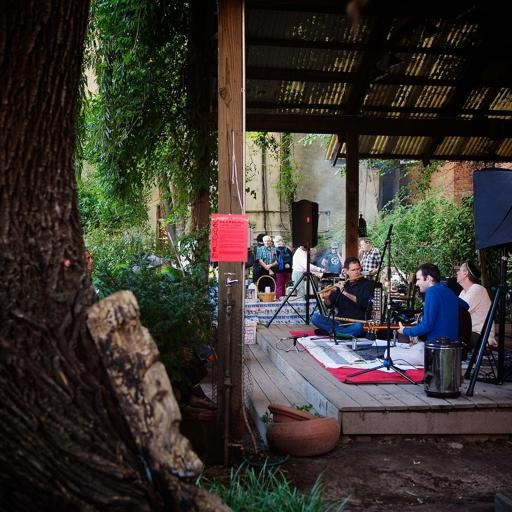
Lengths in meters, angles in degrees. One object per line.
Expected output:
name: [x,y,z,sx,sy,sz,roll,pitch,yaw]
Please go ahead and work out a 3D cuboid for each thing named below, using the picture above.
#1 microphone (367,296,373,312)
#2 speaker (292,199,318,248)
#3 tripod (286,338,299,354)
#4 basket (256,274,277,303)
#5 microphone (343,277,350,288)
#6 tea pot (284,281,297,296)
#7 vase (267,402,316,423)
microphone: [1.652,0.671,7.385,0.037,0.183,0.123,10,8,22]
speaker: [0.918,-0.600,9.184,0.378,0.847,0.847,1,4,-9]
tripod: [0.508,1.203,6.998,0.132,0.192,0.134,1,-8,-1]
basket: [0.221,0.678,11.024,0.421,0.623,0.428,1,4,-4]
microphone: [1.325,0.385,7.506,0.086,0.143,0.129,0,-4,-27]
tea pot: [0.762,0.685,11.351,0.231,0.420,0.282,-1,0,36]
vase: [0.290,1.293,4.278,0.245,0.114,0.243,2,-12,-8]
